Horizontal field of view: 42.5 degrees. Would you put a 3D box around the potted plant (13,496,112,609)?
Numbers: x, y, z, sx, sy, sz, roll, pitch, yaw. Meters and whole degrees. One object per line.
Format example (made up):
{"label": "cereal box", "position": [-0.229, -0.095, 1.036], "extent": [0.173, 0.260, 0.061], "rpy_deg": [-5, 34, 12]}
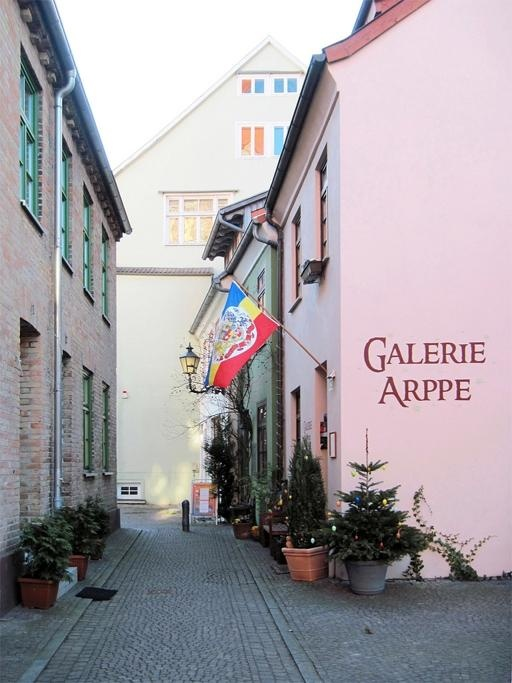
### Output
{"label": "potted plant", "position": [-2.012, 2.270, 6.873], "extent": [0.546, 0.833, 1.868], "rpy_deg": [3, -14, -3]}

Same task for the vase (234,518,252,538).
{"label": "vase", "position": [-0.302, 4.035, 13.762], "extent": [0.288, 0.281, 0.360], "rpy_deg": [0, 1, -6]}

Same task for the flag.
{"label": "flag", "position": [-0.232, -0.106, 9.262], "extent": [1.019, 1.616, 0.446], "rpy_deg": [-4, -12, 11]}

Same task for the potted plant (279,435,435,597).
{"label": "potted plant", "position": [1.047, 2.007, 7.134], "extent": [1.263, 1.534, 1.686], "rpy_deg": [1, -1, -5]}
